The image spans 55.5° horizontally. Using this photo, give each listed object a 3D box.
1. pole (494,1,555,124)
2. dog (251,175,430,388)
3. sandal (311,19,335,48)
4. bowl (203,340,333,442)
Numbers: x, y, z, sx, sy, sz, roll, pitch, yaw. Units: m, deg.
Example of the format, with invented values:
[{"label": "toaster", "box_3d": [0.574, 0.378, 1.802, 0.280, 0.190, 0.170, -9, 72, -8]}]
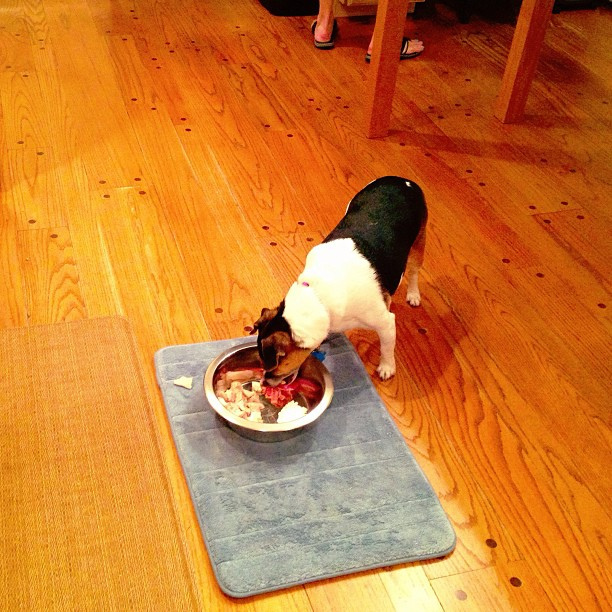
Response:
[{"label": "pole", "box_3d": [0.999, -1.102, 2.626, 0.211, 0.504, 0.280, 15, 51, 4]}, {"label": "dog", "box_3d": [0.099, -0.047, 1.568, 0.226, 0.340, 0.658, 30, 74, 29]}, {"label": "sandal", "box_3d": [0.094, -1.466, 3.220, 0.095, 0.238, 0.101, 0, 15, 10]}, {"label": "bowl", "box_3d": [-0.088, 0.182, 1.357, 0.275, 0.085, 0.259, 7, 47, -7]}]
